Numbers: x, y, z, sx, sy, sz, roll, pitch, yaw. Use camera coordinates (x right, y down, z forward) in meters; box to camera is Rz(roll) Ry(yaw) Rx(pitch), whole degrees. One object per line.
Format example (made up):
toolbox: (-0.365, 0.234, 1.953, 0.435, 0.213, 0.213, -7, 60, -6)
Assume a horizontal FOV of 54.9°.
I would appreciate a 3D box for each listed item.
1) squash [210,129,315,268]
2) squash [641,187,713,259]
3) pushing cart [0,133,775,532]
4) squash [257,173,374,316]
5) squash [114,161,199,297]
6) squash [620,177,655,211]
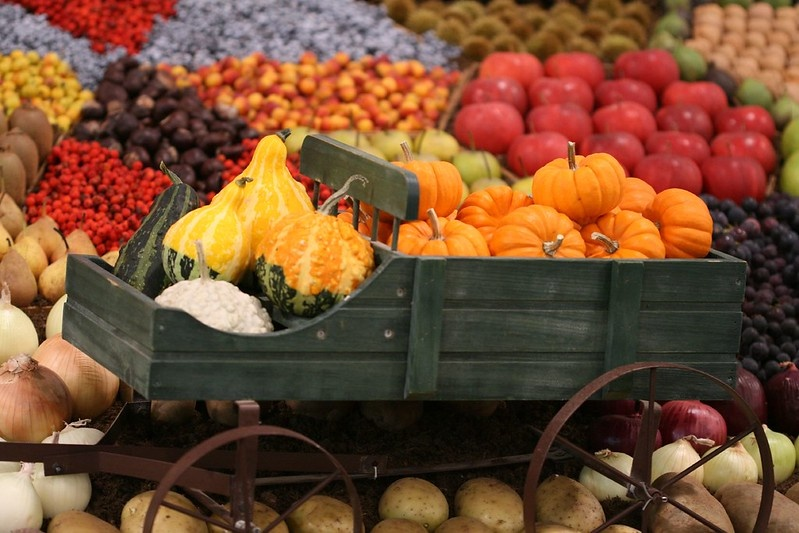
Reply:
squash: (-0.681, -0.360, 4.201, 0.604, 0.620, 0.819, 3, 90, 44)
squash: (1.433, -0.225, 4.046, 0.338, 0.352, 0.355, -5, 112, 9)
pushing cart: (0.002, 0.339, 4.011, 2.992, 1.821, 1.429, 0, 94, -13)
squash: (-0.395, -0.039, 3.763, 0.519, 0.501, 0.661, 17, 71, -17)
squash: (-1.168, -0.169, 3.963, 0.281, 0.277, 0.838, 27, 61, -8)
squash: (1.304, -0.388, 4.277, 0.221, 0.220, 0.208, 1, 94, 13)
